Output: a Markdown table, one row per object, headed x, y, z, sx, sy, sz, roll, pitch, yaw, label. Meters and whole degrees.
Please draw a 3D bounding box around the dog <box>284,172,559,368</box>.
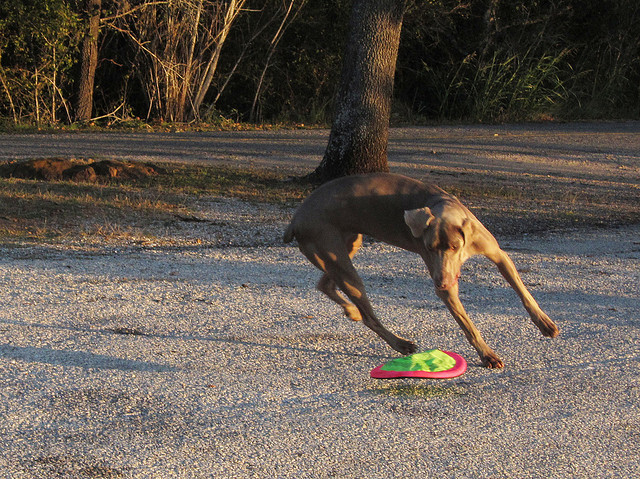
| x | y | z | sx | sy | sz | roll | pitch | yaw | label |
| --- | --- | --- | --- | --- | --- | --- | --- | --- | --- |
| 1.119 | 0.323 | 13.696 | 3.601 | 2.309 | 1.630 | 19 | 32 | 33 | dog |
